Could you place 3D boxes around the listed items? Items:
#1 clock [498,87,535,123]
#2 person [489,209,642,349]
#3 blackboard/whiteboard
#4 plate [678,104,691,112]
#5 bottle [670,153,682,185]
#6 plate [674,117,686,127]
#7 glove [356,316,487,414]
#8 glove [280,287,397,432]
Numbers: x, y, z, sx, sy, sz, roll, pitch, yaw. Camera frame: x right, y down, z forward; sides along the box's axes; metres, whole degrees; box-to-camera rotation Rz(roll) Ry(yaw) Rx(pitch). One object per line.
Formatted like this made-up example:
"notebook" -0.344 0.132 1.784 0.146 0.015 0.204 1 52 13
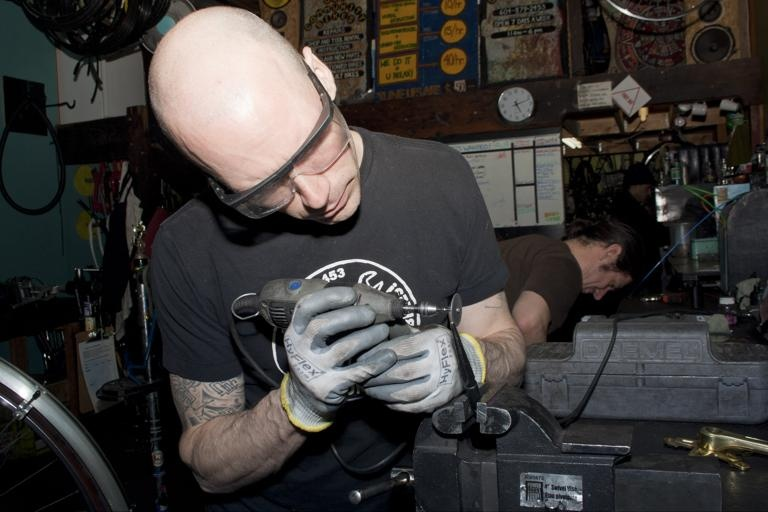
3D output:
"clock" 1.314 -1.482 7.244 0.312 0.328 0.045 -4 6 16
"person" 1.437 0.112 5.624 1.239 0.533 0.825 -9 9 -23
"blackboard/whiteboard" 1.230 -0.718 7.282 1.314 0.995 0.104 -2 -3 -26
"plate" 3.008 -1.476 7.425 0.126 0.078 0.232 0 7 18
"bottle" 2.830 -0.855 7.185 0.090 0.296 0.318 0 7 18
"plate" 3.034 -1.363 7.594 0.110 0.092 0.113 -7 4 6
"glove" 0.233 0.592 4.104 0.577 0.444 0.261 -26 -3 3
"glove" -0.278 0.549 4.087 0.593 0.716 0.671 -8 10 -29
